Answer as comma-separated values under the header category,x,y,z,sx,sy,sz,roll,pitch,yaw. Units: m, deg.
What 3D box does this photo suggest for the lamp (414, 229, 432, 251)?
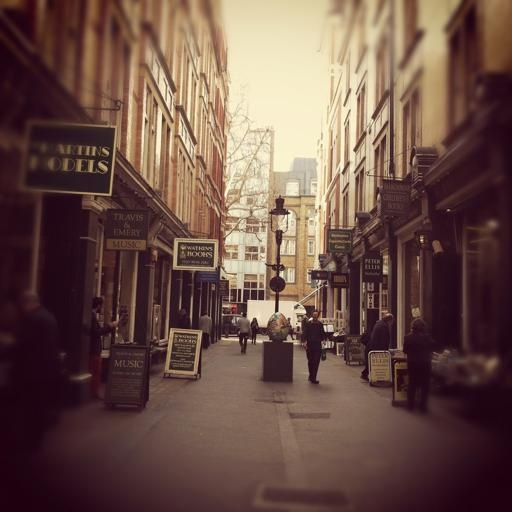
category,x,y,z,sx,sy,sz,roll,pitch,yaw
lamp,3.903,-0.401,12.560,0.182,0.488,0.469,5,-8,-20

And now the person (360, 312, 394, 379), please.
category,x,y,z,sx,sy,sz,roll,pitch,yaw
person,3.280,2.418,14.490,0.762,1.867,2.551,0,-9,15

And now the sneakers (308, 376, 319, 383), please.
category,x,y,z,sx,sy,sz,roll,pitch,yaw
sneakers,1.447,3.111,13.445,0.241,0.136,0.527,3,-9,6

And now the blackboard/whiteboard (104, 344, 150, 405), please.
category,x,y,z,sx,sy,sz,roll,pitch,yaw
blackboard/whiteboard,-2.171,1.993,9.090,0.688,0.997,1.500,5,-9,-14

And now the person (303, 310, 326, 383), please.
category,x,y,z,sx,sy,sz,roll,pitch,yaw
person,1.557,2.370,14.358,0.557,1.911,2.179,1,-8,6
